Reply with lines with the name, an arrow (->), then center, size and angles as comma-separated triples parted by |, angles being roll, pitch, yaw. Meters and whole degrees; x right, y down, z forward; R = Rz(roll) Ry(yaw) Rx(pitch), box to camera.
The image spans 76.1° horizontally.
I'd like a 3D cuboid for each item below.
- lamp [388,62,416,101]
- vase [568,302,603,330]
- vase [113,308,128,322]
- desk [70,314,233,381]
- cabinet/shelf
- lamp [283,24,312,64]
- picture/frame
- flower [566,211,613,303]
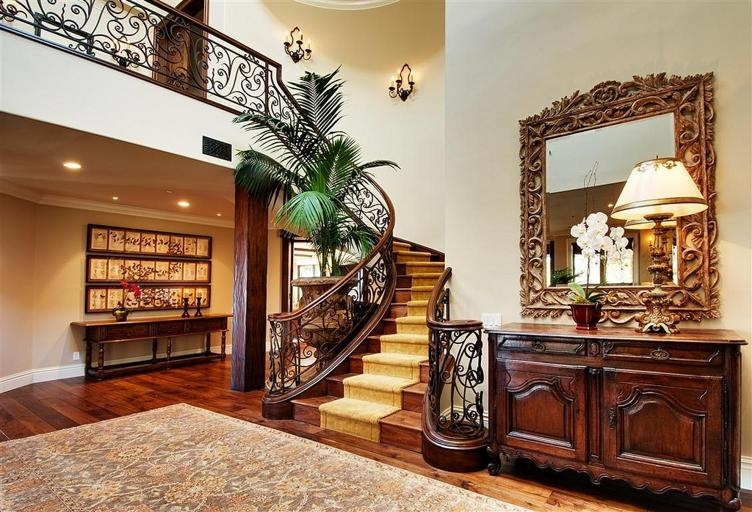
lamp -> 0.432, -2.942, 8.018 | 0.302, 0.604, 0.491 | -4, 13, -39
vase -> 1.809, 0.524, 4.187 | 0.230, 0.208, 0.241 | 9, -12, -39
vase -> -4.003, 0.917, 7.590 | 0.203, 0.166, 0.199 | 5, -4, -9
desk -> -3.708, 1.412, 8.034 | 2.143, 0.982, 0.707 | -6, 9, -45
cabinet/shelf -> 1.862, 1.251, 3.902 | 1.782, 1.330, 0.349 | 3, 7, 25
lamp -> -1.386, -3.772, 8.558 | 0.482, 0.651, 0.220 | -2, 7, -12
picture/frame -> -3.949, 0.188, 8.203 | 0.072, 1.178, 1.704 | 0, -1, 41
flower -> 1.894, 0.004, 4.294 | 0.330, 0.788, 0.398 | 2, 7, 21
